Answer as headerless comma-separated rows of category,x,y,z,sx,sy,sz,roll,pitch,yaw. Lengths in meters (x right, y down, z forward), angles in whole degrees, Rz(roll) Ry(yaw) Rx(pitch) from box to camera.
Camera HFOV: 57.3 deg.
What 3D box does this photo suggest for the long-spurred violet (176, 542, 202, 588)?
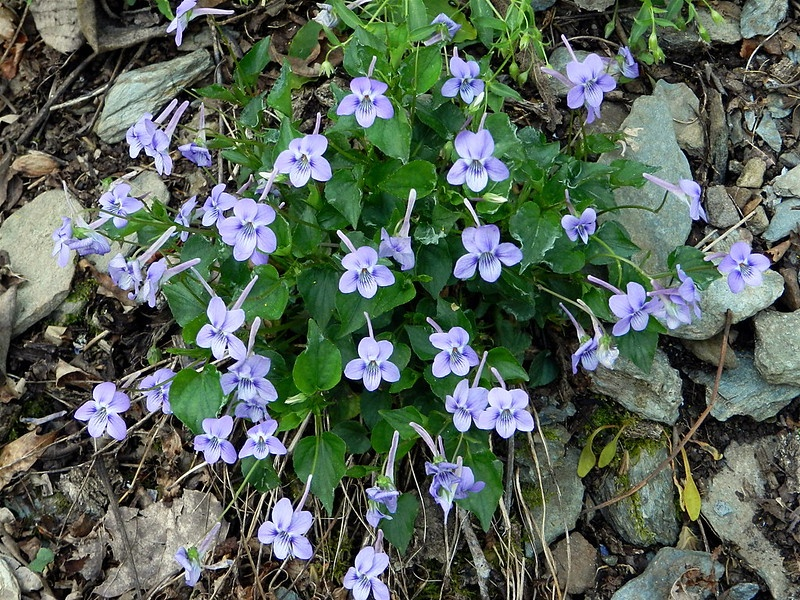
long-spurred violet,-1.036,1.315,3.617,0.117,0.191,0.154,11,63,9
